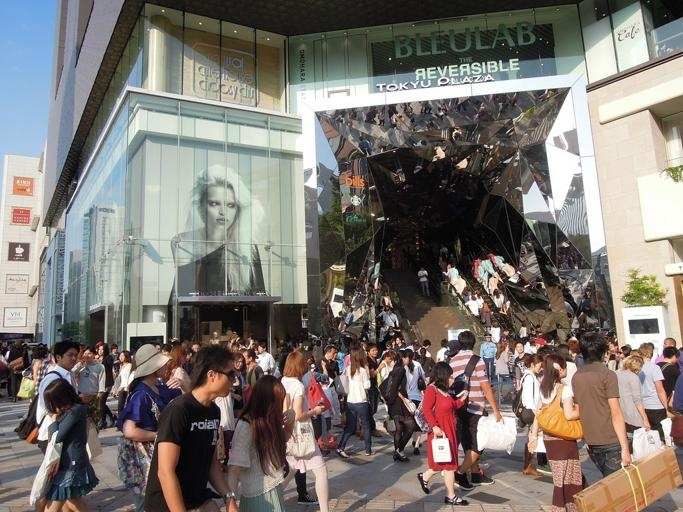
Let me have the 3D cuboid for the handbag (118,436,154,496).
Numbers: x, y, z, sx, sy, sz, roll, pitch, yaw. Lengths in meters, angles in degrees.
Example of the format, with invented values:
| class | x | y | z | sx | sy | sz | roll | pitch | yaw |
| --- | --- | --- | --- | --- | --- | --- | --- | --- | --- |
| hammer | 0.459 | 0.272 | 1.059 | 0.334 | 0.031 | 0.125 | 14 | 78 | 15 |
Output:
| class | x | y | z | sx | sy | sz | roll | pitch | yaw |
| --- | --- | --- | --- | --- | --- | --- | --- | --- | --- |
| handbag | -2.048 | 2.056 | 4.625 | 0.445 | 0.575 | 0.236 | -7 | -10 | 34 |

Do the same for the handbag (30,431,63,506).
| class | x | y | z | sx | sy | sz | roll | pitch | yaw |
| --- | --- | --- | --- | --- | --- | --- | --- | --- | --- |
| handbag | -2.981 | 2.122 | 4.766 | 0.268 | 0.669 | 0.186 | -7 | -10 | 32 |

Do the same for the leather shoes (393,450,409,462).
| class | x | y | z | sx | sy | sz | roll | pitch | yaw |
| --- | --- | --- | --- | --- | --- | --- | --- | --- | --- |
| leather shoes | 1.029 | 3.461 | 8.180 | 0.120 | 0.172 | 0.350 | -3 | -6 | 33 |

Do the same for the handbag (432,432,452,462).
| class | x | y | z | sx | sy | sz | roll | pitch | yaw |
| --- | --- | --- | --- | --- | --- | --- | --- | --- | --- |
| handbag | 1.311 | 2.521 | 6.187 | 0.281 | 0.510 | 0.170 | -5 | -14 | 16 |

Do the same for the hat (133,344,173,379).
| class | x | y | z | sx | sy | sz | roll | pitch | yaw |
| --- | --- | --- | --- | --- | --- | --- | --- | --- | --- |
| hat | -1.946 | 1.088 | 4.798 | 0.330 | 0.178 | 0.280 | -43 | 18 | -28 |

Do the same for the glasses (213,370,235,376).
| class | x | y | z | sx | sy | sz | roll | pitch | yaw |
| --- | --- | --- | --- | --- | --- | --- | --- | --- | --- |
| glasses | -0.880 | 0.884 | 3.554 | 0.146 | 0.048 | 0.027 | 4 | -10 | -32 |

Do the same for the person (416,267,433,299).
| class | x | y | z | sx | sy | sz | roll | pitch | yaw |
| --- | --- | --- | --- | --- | --- | --- | --- | --- | --- |
| person | 4.709 | 1.501 | 26.636 | 0.605 | 1.580 | 2.357 | -3 | -9 | 11 |

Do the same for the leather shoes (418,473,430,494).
| class | x | y | z | sx | sy | sz | roll | pitch | yaw |
| --- | --- | --- | --- | --- | --- | --- | --- | --- | --- |
| leather shoes | 1.141 | 3.167 | 6.602 | 0.128 | 0.376 | 0.123 | -10 | 7 | 13 |

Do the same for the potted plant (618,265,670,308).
| class | x | y | z | sx | sy | sz | roll | pitch | yaw |
| --- | --- | --- | --- | --- | --- | --- | --- | --- | --- |
| potted plant | 11.316 | 1.266 | 17.722 | 1.220 | 1.409 | 1.190 | -6 | -11 | 24 |

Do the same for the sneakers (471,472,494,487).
| class | x | y | z | sx | sy | sz | roll | pitch | yaw |
| --- | --- | --- | --- | --- | --- | --- | --- | --- | --- |
| sneakers | 2.040 | 3.259 | 6.954 | 0.357 | 0.232 | 0.140 | 0 | -2 | -20 |

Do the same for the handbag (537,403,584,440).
| class | x | y | z | sx | sy | sz | roll | pitch | yaw |
| --- | --- | --- | --- | --- | --- | --- | --- | --- | --- |
| handbag | 2.466 | 1.955 | 5.531 | 0.444 | 0.526 | 0.350 | 10 | -25 | -7 |

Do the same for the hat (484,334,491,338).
| class | x | y | z | sx | sy | sz | roll | pitch | yaw |
| --- | --- | --- | --- | --- | --- | --- | --- | --- | --- |
| hat | 6.131 | 3.333 | 19.803 | 0.293 | 0.142 | 0.338 | 1 | -11 | -3 |

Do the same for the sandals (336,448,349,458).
| class | x | y | z | sx | sy | sz | roll | pitch | yaw |
| --- | --- | --- | --- | --- | --- | --- | --- | --- | --- |
| sandals | -0.010 | 3.556 | 8.503 | 0.077 | 0.126 | 0.217 | -27 | -40 | 12 |

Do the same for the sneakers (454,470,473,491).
| class | x | y | z | sx | sy | sz | roll | pitch | yaw |
| --- | --- | --- | --- | --- | --- | --- | --- | --- | --- |
| sneakers | 1.739 | 3.213 | 6.732 | 0.111 | 0.172 | 0.358 | 4 | -22 | -5 |

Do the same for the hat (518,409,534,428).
| class | x | y | z | sx | sy | sz | roll | pitch | yaw |
| --- | --- | --- | --- | --- | --- | --- | --- | --- | --- |
| hat | 2.758 | 2.403 | 7.025 | 0.206 | 0.330 | 0.120 | 4 | 11 | 32 |

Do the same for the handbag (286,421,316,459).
| class | x | y | z | sx | sy | sz | roll | pitch | yaw |
| --- | --- | --- | --- | --- | --- | --- | --- | --- | --- |
| handbag | -0.463 | 2.152 | 5.516 | 0.347 | 0.416 | 0.183 | 5 | -11 | -38 |

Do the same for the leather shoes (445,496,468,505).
| class | x | y | z | sx | sy | sz | roll | pitch | yaw |
| --- | --- | --- | --- | --- | --- | --- | --- | --- | --- |
| leather shoes | 1.498 | 3.181 | 6.131 | 0.218 | 0.090 | 0.129 | -2 | -1 | -1 |

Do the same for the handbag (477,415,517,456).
| class | x | y | z | sx | sy | sz | roll | pitch | yaw |
| --- | --- | --- | --- | --- | --- | --- | --- | --- | --- |
| handbag | 2.164 | 2.499 | 6.587 | 0.561 | 0.523 | 0.290 | -2 | -8 | 3 |

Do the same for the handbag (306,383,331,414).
| class | x | y | z | sx | sy | sz | roll | pitch | yaw |
| --- | --- | --- | --- | --- | --- | --- | --- | --- | --- |
| handbag | -0.337 | 2.044 | 6.766 | 0.309 | 0.399 | 0.796 | -1 | -9 | -1 |

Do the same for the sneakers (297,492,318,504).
| class | x | y | z | sx | sy | sz | roll | pitch | yaw |
| --- | --- | --- | --- | --- | --- | --- | --- | --- | --- |
| sneakers | -0.470 | 3.269 | 6.390 | 0.329 | 0.155 | 0.119 | 0 | -8 | -2 |
